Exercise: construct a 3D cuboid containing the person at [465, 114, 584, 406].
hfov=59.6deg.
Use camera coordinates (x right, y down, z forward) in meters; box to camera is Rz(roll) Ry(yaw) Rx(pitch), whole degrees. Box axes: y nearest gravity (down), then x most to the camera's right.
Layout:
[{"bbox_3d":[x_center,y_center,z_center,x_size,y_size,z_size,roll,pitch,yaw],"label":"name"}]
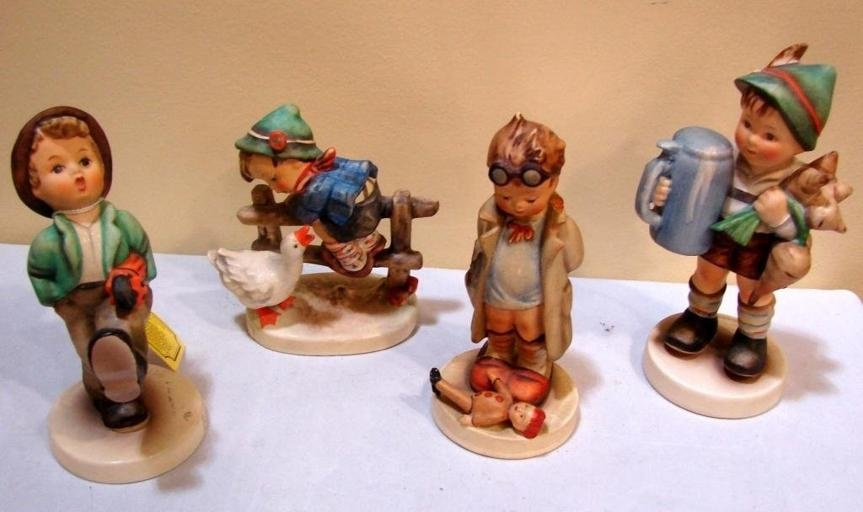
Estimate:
[{"bbox_3d":[0.353,0.034,2.928,0.444,1.115,0.288,3,27,13],"label":"person"}]
